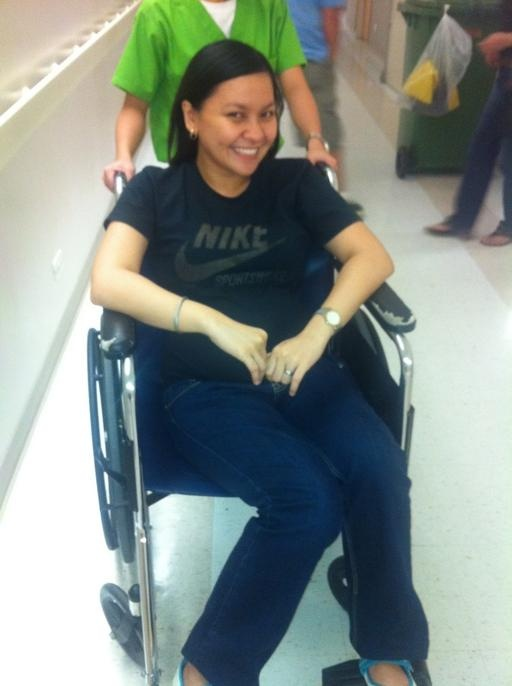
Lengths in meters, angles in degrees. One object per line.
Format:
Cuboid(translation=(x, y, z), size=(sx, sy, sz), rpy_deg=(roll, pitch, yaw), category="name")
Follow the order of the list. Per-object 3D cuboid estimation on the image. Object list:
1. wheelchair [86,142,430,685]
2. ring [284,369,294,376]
Cuboid(translation=(0.036, 0.107, 1.123), size=(0.559, 0.475, 0.919), rpy_deg=(-16, 54, -7), category="wheelchair")
Cuboid(translation=(0.061, 0.057, 1.079), size=(0.015, 0.013, 0.008), rpy_deg=(-7, 52, -1), category="ring")
